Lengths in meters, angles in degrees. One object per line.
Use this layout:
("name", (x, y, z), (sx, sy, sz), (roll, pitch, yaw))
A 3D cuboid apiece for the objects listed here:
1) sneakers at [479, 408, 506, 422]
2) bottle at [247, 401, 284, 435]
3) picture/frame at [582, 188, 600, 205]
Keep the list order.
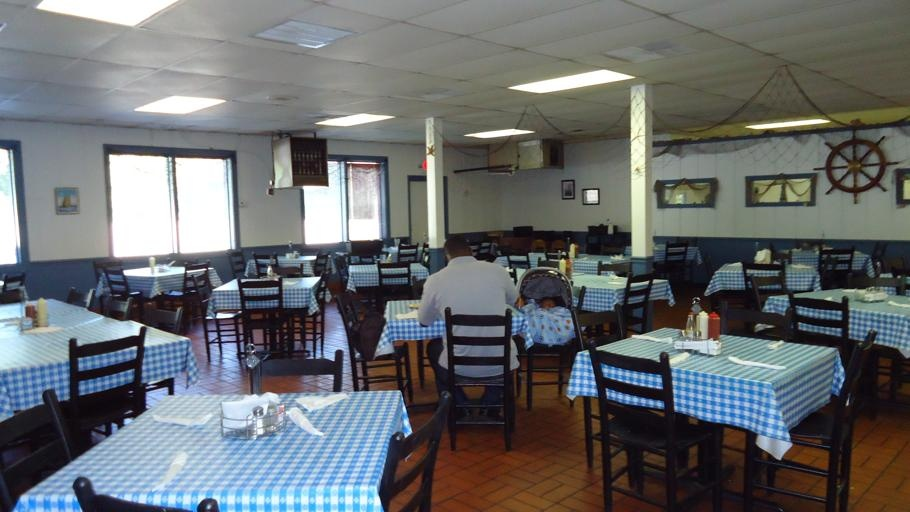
("sneakers", (0.422, 1.818, 7.514), (0.411, 0.150, 0.133), (-1, -3, 18))
("bottle", (-1.611, 1.382, 5.622), (0.306, 0.198, 0.213), (-2, 5, -26))
("picture/frame", (3.397, -1.484, 16.221), (0.486, 0.370, 0.043), (1, 3, 41))
